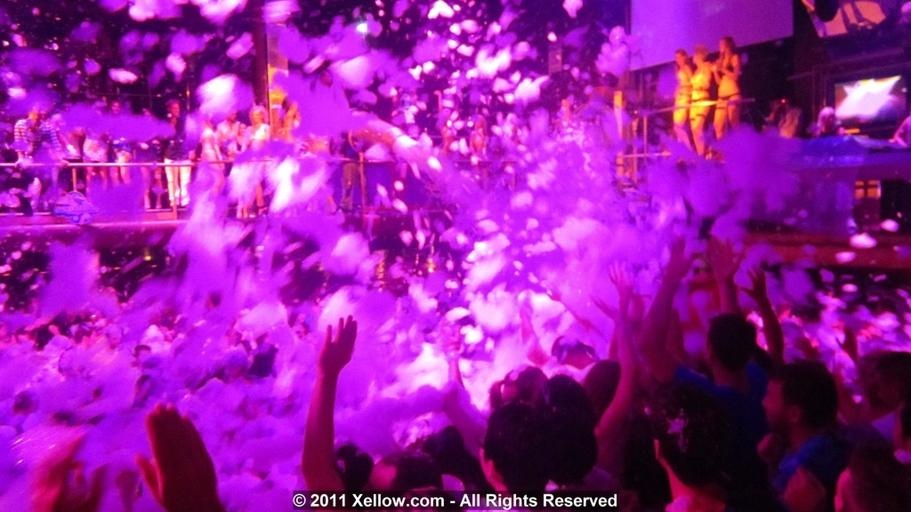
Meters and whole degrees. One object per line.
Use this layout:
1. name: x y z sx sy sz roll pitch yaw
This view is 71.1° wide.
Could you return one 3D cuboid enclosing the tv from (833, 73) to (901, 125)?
1. tv: 5.935 -2.243 9.171 0.889 0.665 0.126 -1 1 37
